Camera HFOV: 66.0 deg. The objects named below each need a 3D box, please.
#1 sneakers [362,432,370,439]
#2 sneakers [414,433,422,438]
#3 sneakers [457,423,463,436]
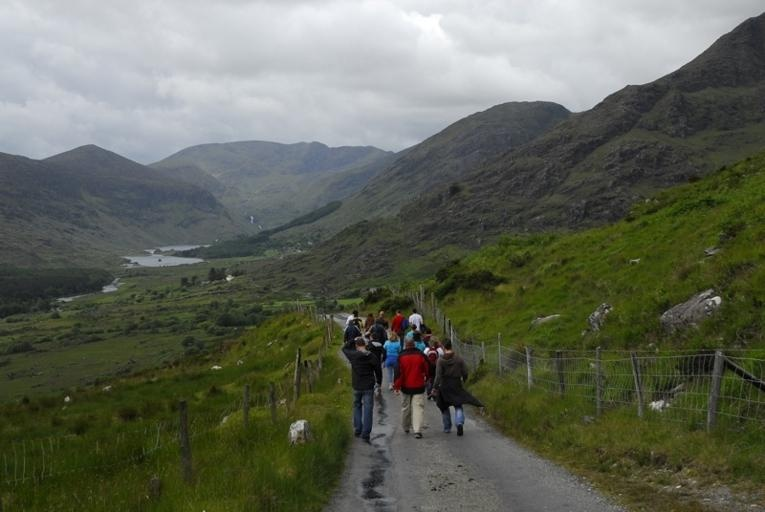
[{"bbox_3d":[-0.619,6.963,22.715,0.221,0.167,0.228,-3,-5,23],"label":"sneakers"},{"bbox_3d":[1.400,7.009,22.938,0.306,0.204,0.248,-7,-2,-7],"label":"sneakers"},{"bbox_3d":[3.081,6.899,23.195,0.175,0.496,0.204,-2,41,4],"label":"sneakers"}]
